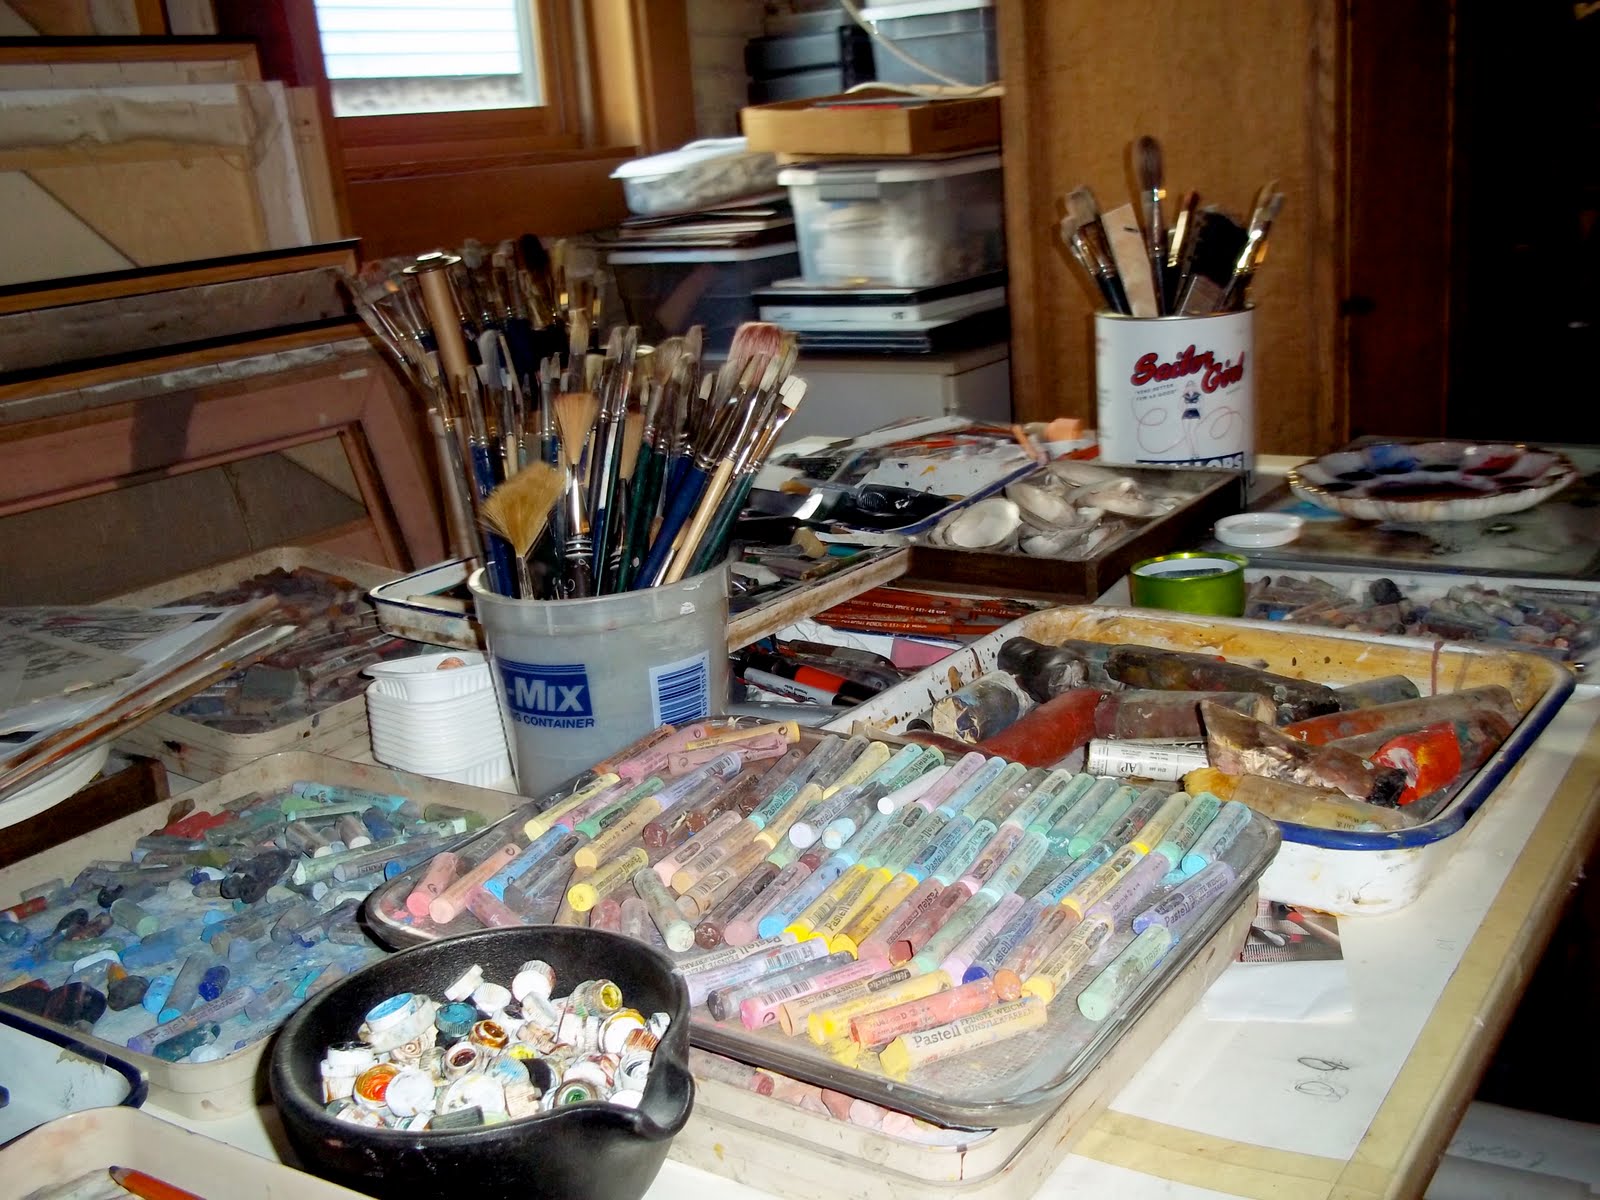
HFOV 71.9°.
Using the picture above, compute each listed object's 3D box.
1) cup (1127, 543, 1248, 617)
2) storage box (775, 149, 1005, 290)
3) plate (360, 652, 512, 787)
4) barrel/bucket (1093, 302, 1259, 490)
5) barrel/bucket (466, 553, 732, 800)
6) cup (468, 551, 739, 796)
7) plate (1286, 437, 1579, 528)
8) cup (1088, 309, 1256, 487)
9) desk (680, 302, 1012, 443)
[{"bbox_3d":[0.313,-0.015,0.873,0.086,0.031,0.066,-1,6,0],"label":"cup"},{"bbox_3d":[0.189,-0.729,2.129,0.433,0.239,0.273,-3,22,2],"label":"storage box"},{"bbox_3d":[-0.252,0.091,0.811,0.099,0.059,0.125,-5,4,-38],"label":"plate"},{"bbox_3d":[0.385,-0.218,1.167,0.248,0.165,0.199,-1,10,7],"label":"barrel/bucket"},{"bbox_3d":[-0.101,0.047,0.786,0.220,0.153,0.168,-9,23,-7],"label":"barrel/bucket"},{"bbox_3d":[-0.137,0.053,0.739,0.161,0.112,0.133,-10,13,-18],"label":"cup"},{"bbox_3d":[0.656,-0.125,1.137,0.184,0.027,0.171,9,21,44],"label":"plate"},{"bbox_3d":[0.347,-0.231,1.252,0.255,0.164,0.196,-1,11,6],"label":"cup"},{"bbox_3d":[0.184,-0.400,2.335,0.873,0.283,0.461,-1,5,13],"label":"desk"}]
